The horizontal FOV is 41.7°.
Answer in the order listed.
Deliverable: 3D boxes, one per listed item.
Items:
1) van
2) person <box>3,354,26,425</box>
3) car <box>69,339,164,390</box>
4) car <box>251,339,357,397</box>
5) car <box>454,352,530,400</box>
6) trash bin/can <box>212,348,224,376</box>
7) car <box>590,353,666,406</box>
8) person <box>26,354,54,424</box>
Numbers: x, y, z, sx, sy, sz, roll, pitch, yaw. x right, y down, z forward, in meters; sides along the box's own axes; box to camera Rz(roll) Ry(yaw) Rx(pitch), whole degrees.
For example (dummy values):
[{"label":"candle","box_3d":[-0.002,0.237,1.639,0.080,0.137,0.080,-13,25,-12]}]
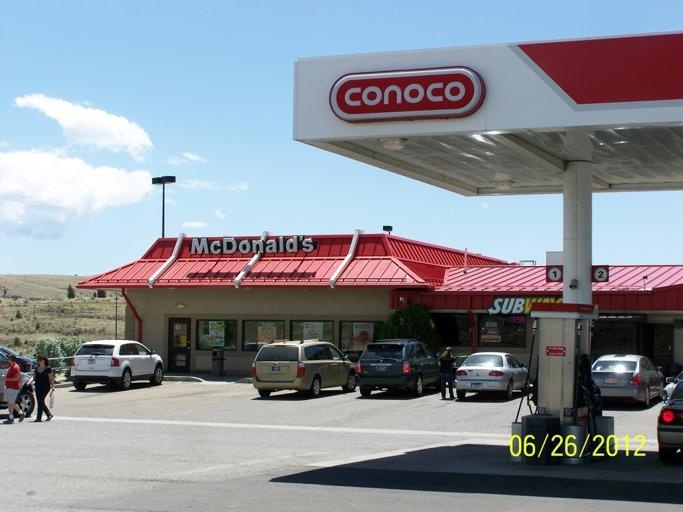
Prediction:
[{"label":"van","box_3d":[2.168,3.720,30.905,1.453,1.277,2.975,-2,-1,25]},{"label":"person","box_3d":[-8.769,3.550,24.055,0.558,1.796,1.158,3,-8,-20]},{"label":"car","box_3d":[-8.303,4.000,34.156,1.651,1.290,3.280,-2,0,22]},{"label":"car","box_3d":[-1.258,3.944,31.513,2.663,1.975,4.325,-6,-10,40]},{"label":"car","box_3d":[5.092,3.976,29.729,2.463,1.492,1.257,5,-9,-32]},{"label":"trash bin/can","box_3d":[-5.294,4.579,38.434,0.455,1.080,0.443,2,-8,-13]},{"label":"car","box_3d":[8.711,3.794,27.408,1.322,1.553,2.823,-5,-9,37]},{"label":"person","box_3d":[-8.209,3.605,24.642,0.573,1.786,1.468,3,-8,-18]}]
